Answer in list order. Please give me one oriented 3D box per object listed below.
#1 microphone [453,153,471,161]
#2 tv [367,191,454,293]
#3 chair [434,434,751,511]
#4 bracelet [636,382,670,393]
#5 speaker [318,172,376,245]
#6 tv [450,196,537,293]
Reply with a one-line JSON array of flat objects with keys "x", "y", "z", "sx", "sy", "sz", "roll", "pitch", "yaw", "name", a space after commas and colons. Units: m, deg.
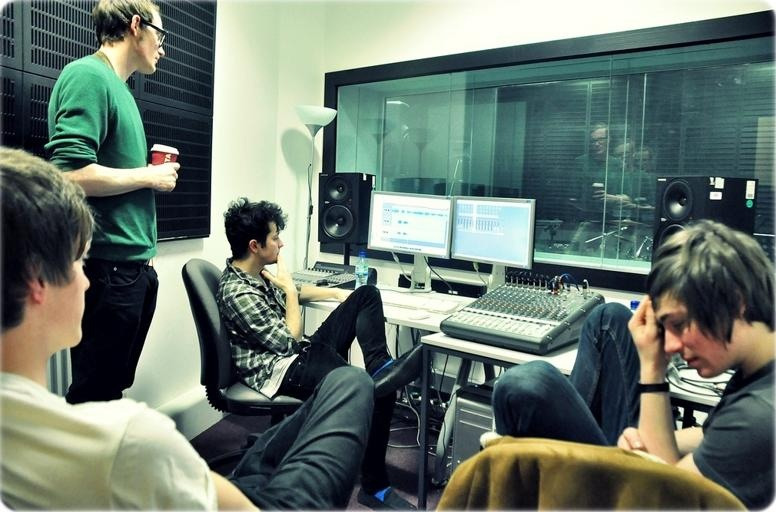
[{"x": 0.509, "y": -0.670, "z": 4.153, "sx": 0.104, "sy": 0.050, "sz": 0.057, "roll": 0, "pitch": 0, "yaw": 38, "name": "microphone"}, {"x": 0.159, "y": -0.107, "z": 3.924, "sx": 0.705, "sy": 0.707, "sz": 0.313, "roll": 3, "pitch": 3, "yaw": 33, "name": "tv"}, {"x": 0.475, "y": 0.488, "z": 1.529, "sx": 0.466, "sy": 0.130, "sz": 0.303, "roll": 1, "pitch": -3, "yaw": 15, "name": "chair"}, {"x": 0.954, "y": 0.469, "z": 2.193, "sx": 0.084, "sy": 0.021, "sz": 0.080, "roll": -3, "pitch": -3, "yaw": 21, "name": "bracelet"}, {"x": -0.279, "y": -0.324, "z": 4.224, "sx": 0.373, "sy": 0.451, "sz": 0.304, "roll": 0, "pitch": -2, "yaw": 15, "name": "speaker"}, {"x": 0.623, "y": -0.084, "z": 3.549, "sx": 0.636, "sy": 0.621, "sz": 0.232, "roll": 4, "pitch": 3, "yaw": 36, "name": "tv"}]
